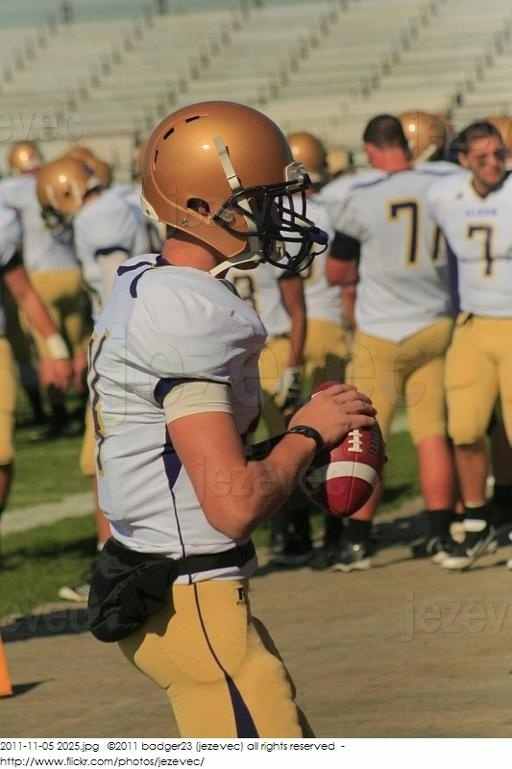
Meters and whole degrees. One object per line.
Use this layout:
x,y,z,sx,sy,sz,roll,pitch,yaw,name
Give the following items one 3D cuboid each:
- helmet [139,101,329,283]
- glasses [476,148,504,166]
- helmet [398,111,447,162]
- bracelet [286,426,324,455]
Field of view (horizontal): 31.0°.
-0.064,-0.345,1.644,0.403,0.257,0.260,-1,19,-2,helmet
0.599,-0.578,2.356,0.040,0.026,0.049,-17,-9,-42,glasses
0.458,-0.677,2.555,0.137,0.084,0.129,2,-10,1,helmet
0.083,0.085,1.507,0.052,0.051,0.018,8,66,36,bracelet
